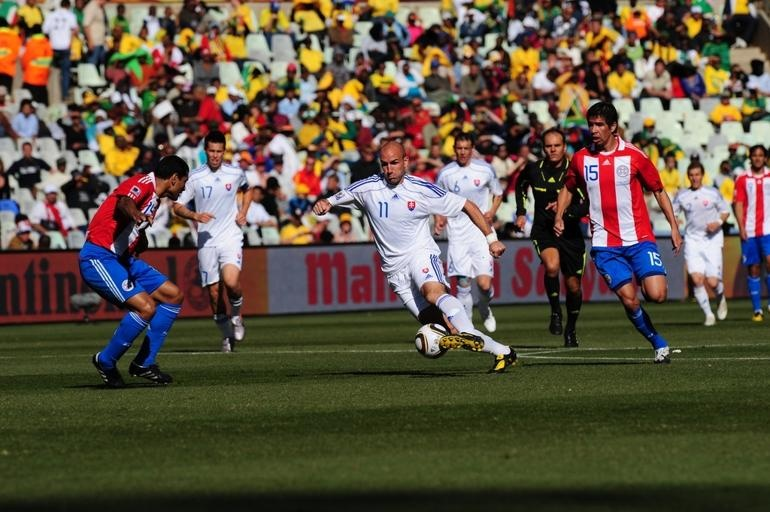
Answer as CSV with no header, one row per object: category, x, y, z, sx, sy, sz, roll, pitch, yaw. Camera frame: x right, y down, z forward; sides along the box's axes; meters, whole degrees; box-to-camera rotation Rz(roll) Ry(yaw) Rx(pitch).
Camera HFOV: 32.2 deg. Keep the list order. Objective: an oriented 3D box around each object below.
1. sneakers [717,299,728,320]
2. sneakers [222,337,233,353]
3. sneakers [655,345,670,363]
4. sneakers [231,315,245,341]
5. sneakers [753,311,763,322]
sneakers,6.345,1.031,25.160,0.132,0.370,0.156,-8,-38,40
sneakers,-2.521,1.434,21.334,0.143,0.240,0.237,2,2,4
sneakers,3.961,1.414,19.076,0.238,0.237,0.173,-6,6,3
sneakers,-2.389,1.178,21.629,0.154,0.448,0.187,-6,8,-1
sneakers,6.919,1.139,24.749,0.123,0.167,0.367,-2,-6,8
